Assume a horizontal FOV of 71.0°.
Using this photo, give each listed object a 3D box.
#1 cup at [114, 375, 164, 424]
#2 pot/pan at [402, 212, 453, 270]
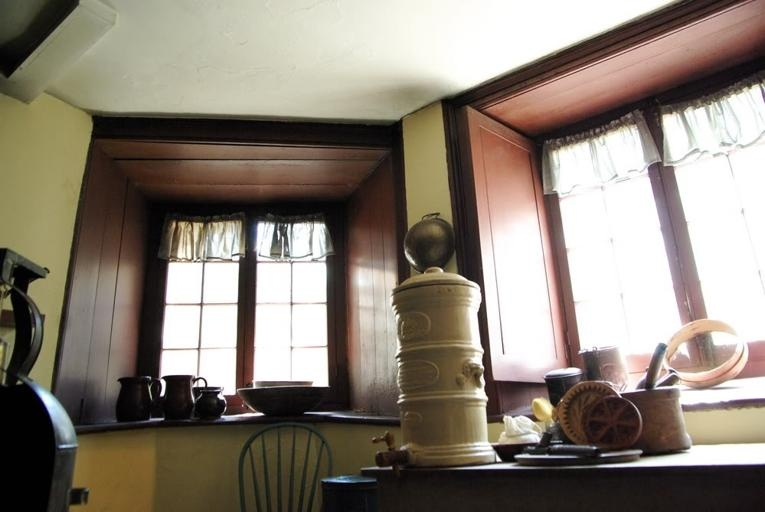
[{"bbox_3d":[-1.778,1.039,3.922,0.297,0.309,0.175,5,-16,-30],"label":"cup"},{"bbox_3d":[0.303,-0.058,3.673,0.306,0.375,0.328,-5,-32,16],"label":"pot/pan"}]
